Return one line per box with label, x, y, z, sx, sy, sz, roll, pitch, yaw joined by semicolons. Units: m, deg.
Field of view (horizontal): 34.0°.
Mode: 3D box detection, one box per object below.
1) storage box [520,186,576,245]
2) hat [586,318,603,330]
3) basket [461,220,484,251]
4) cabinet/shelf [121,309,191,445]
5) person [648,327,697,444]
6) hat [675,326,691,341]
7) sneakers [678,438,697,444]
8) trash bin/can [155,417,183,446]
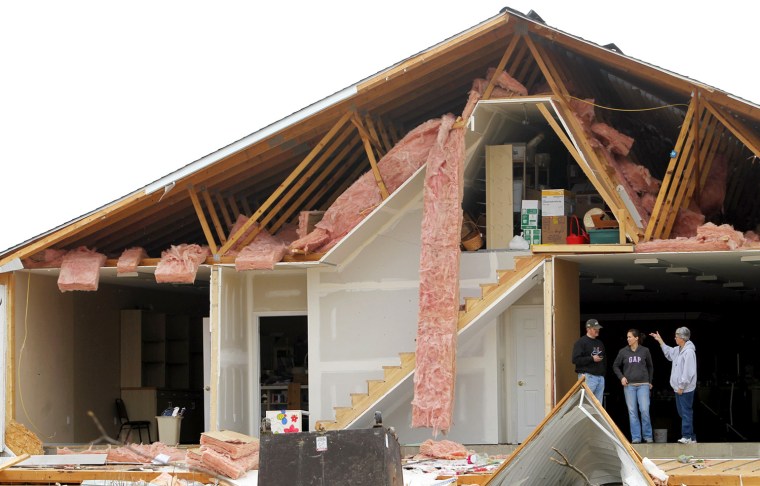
storage box;3.160;-0.514;24.420;0.992;1.534;1.695;-1;0;23
hat;4.037;1.550;23.747;0.431;0.220;0.321;1;0;11
basket;1.839;-0.162;25.244;0.458;0.524;0.538;-5;-23;-10
cabinet/shelf;-5.194;3.077;28.327;1.064;3.294;2.989;-3;-6;11
person;5.711;2.701;23.836;0.642;2.326;1.127;-4;-14;12
hat;5.783;1.725;23.708;0.285;0.297;0.360;5;17;3
sneakers;5.736;3.737;23.369;0.359;0.131;0.119;15;-17;-36
trash bin/can;-4.483;3.927;25.863;0.692;0.645;0.583;-4;-14;13
